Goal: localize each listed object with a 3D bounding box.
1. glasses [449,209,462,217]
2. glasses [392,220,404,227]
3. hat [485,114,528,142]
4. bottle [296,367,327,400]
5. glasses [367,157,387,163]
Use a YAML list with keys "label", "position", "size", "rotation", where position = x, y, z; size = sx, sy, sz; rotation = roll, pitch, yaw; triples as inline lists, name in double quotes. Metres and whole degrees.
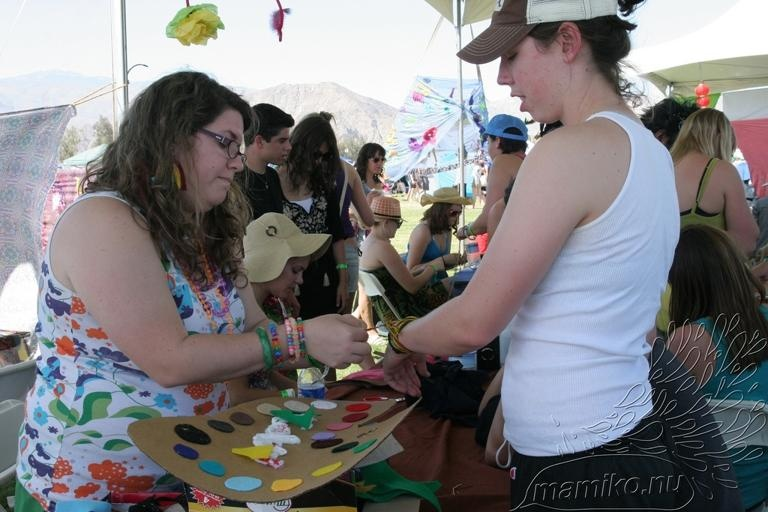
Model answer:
- label: "glasses"
  position: [0.721, -0.431, 5.091]
  size: [0.077, 0.025, 0.077]
  rotation: [26, 2, 13]
- label: "glasses"
  position: [0.135, -0.325, 4.767]
  size: [0.086, 0.089, 0.104]
  rotation: [-5, -10, 0]
- label: "hat"
  position: [1.066, -1.120, 4.490]
  size: [0.339, 0.172, 0.254]
  rotation: [10, 15, 40]
- label: "bottle"
  position: [-0.337, 0.594, 2.394]
  size: [0.148, 0.217, 0.134]
  rotation: [0, -8, -2]
- label: "glasses"
  position: [-0.092, -1.126, 5.995]
  size: [0.110, 0.034, 0.111]
  rotation: [-1, -1, -26]
